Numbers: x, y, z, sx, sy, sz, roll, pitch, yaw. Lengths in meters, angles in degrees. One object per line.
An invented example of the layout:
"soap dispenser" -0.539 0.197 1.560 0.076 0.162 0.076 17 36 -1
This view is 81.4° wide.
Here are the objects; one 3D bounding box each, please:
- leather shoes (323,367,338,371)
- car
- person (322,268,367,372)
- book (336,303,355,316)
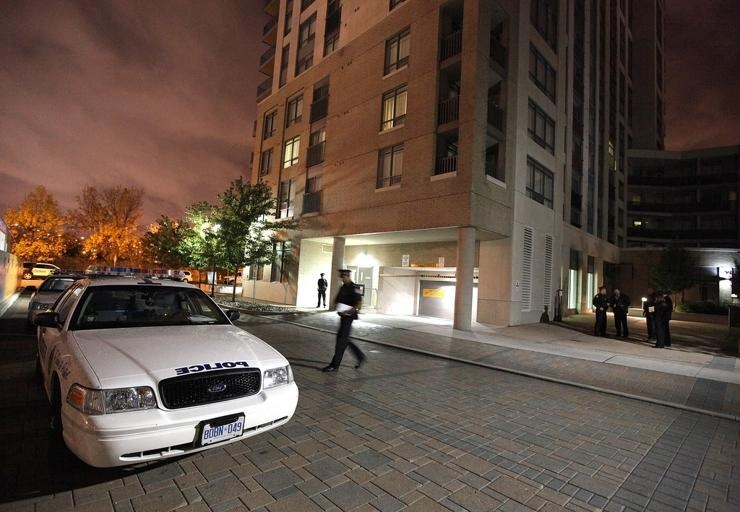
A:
"leather shoes" -0.882 2.494 9.468 0.296 0.124 0.108 7 -6 -14
"car" -3.087 1.645 6.254 3.460 2.424 2.252 3 1 32
"person" -0.548 1.473 9.872 0.862 2.285 1.308 2 1 1
"book" -0.562 1.173 9.238 0.350 0.203 0.348 2 -25 -30
